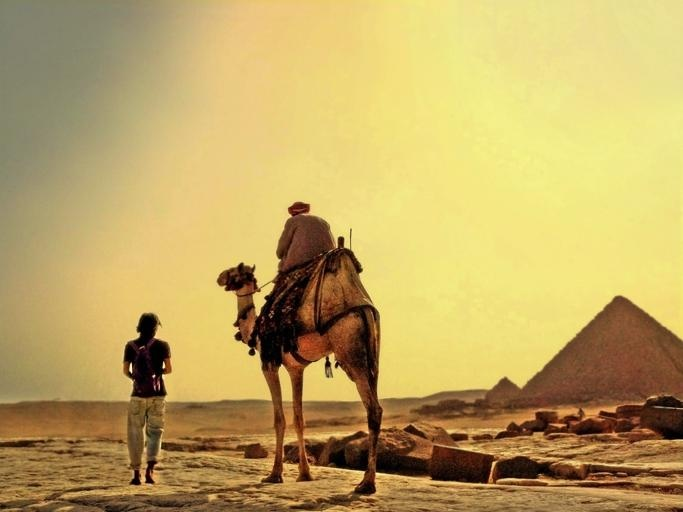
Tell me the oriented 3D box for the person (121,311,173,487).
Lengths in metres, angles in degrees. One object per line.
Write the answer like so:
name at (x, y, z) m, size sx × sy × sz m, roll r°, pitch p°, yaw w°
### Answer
person at (-2.964, 2.216, 14.620) m, size 0.724 × 2.649 × 0.823 m, roll -2°, pitch -7°, yaw 4°

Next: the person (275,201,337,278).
person at (-0.529, -0.165, 15.517) m, size 1.041 × 1.473 × 0.855 m, roll 0°, pitch -32°, yaw -18°
